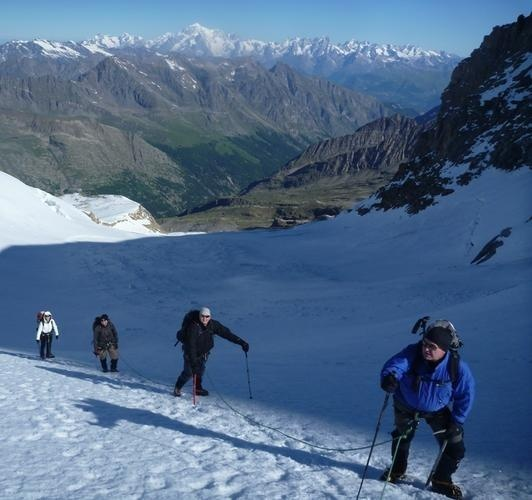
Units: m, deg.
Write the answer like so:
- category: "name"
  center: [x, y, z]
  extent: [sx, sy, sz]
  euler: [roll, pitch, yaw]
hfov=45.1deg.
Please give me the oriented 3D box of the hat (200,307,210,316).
- category: "hat"
  center: [-1.647, 1.619, 16.875]
  extent: [0.234, 0.243, 0.249]
  euler: [15, 9, 5]

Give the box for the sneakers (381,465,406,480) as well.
- category: "sneakers"
  center: [2.768, 4.755, 13.646]
  extent: [0.636, 0.231, 0.209]
  euler: [4, -2, -40]

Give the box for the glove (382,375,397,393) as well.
- category: "glove"
  center: [2.433, 2.694, 12.810]
  extent: [0.315, 0.406, 0.236]
  euler: [7, 10, 9]

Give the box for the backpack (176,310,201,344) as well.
- category: "backpack"
  center: [-2.101, 2.075, 17.206]
  extent: [0.611, 0.941, 0.379]
  euler: [8, 11, 13]

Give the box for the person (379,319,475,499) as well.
- category: "person"
  center: [3.301, 3.187, 13.083]
  extent: [1.797, 3.607, 0.683]
  euler: [8, 11, 12]
